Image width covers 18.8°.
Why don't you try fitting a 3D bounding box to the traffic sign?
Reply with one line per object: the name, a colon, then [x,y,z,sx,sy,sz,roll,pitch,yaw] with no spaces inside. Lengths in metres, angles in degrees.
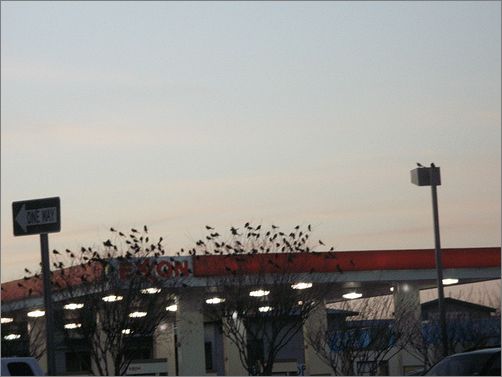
traffic sign: [-8.223,1.070,58.342,1.633,1.365,0.249,-3,-1,7]
